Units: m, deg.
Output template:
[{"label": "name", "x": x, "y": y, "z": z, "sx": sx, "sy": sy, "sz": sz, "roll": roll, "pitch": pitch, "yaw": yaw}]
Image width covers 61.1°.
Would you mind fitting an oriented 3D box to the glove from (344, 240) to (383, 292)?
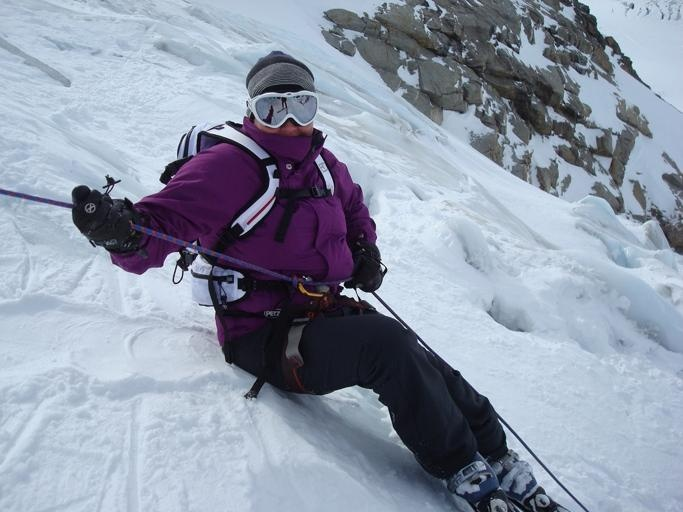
[{"label": "glove", "x": 0.154, "y": 0.063, "z": 4.108, "sx": 0.210, "sy": 0.277, "sz": 0.271, "roll": 39, "pitch": 28, "yaw": -41}]
